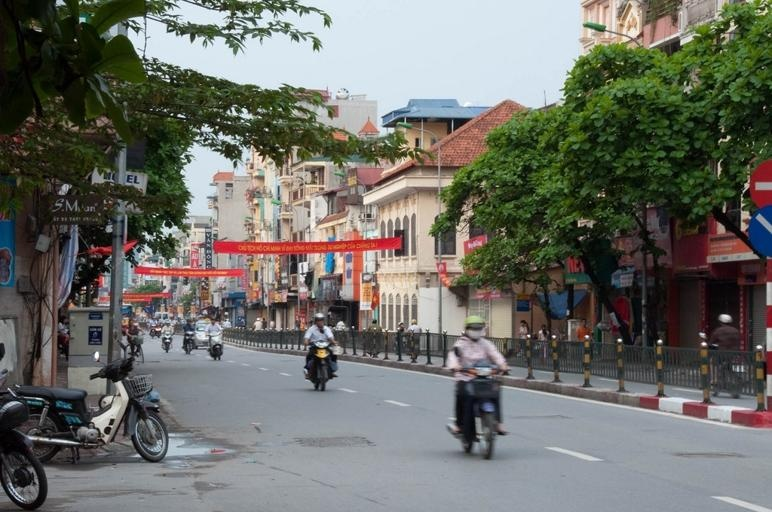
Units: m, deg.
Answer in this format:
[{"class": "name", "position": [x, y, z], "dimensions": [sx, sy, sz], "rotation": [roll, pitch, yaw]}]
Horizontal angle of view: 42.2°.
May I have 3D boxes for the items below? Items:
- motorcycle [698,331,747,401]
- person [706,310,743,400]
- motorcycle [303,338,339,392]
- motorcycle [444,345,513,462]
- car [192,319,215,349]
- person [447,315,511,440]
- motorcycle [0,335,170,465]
[{"class": "motorcycle", "position": [7.942, 2.417, 23.397], "dimensions": [0.722, 1.951, 1.919], "rotation": [1, 2, 0]}, {"class": "person", "position": [7.876, 2.159, 23.197], "dimensions": [0.594, 1.594, 1.566], "rotation": [-1, 11, -13]}, {"class": "motorcycle", "position": [-1.750, 2.947, 26.986], "dimensions": [0.761, 1.385, 1.192], "rotation": [1, -8, -1]}, {"class": "motorcycle", "position": [1.465, 2.281, 16.153], "dimensions": [0.806, 1.910, 0.989], "rotation": [7, -10, -42]}, {"class": "car", "position": [-10.388, 4.582, 58.183], "dimensions": [1.608, 1.697, 3.185], "rotation": [0, -6, -15]}, {"class": "person", "position": [1.631, 1.901, 17.030], "dimensions": [1.067, 1.248, 1.890], "rotation": [1, -8, -5]}, {"class": "motorcycle", "position": [-4.590, 2.355, 15.349], "dimensions": [2.346, 1.650, 0.897], "rotation": [1, -5, -17]}]
